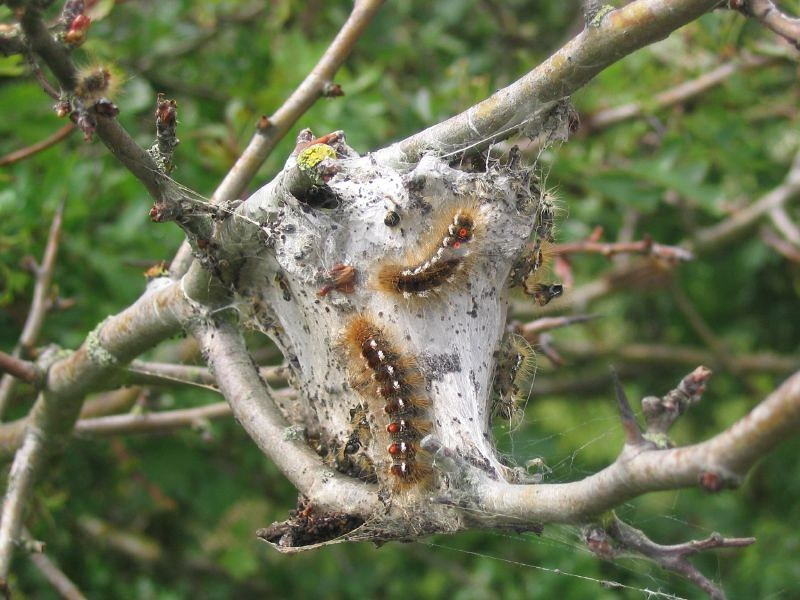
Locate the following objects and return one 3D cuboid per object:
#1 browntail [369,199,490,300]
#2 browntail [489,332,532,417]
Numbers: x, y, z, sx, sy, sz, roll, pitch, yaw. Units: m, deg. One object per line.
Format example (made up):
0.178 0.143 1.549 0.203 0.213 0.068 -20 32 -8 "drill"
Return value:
0.151 -0.188 6.503 0.600 0.125 0.288 -37 79 -4 "browntail"
0.530 0.335 6.728 0.231 0.101 0.354 16 102 22 "browntail"
